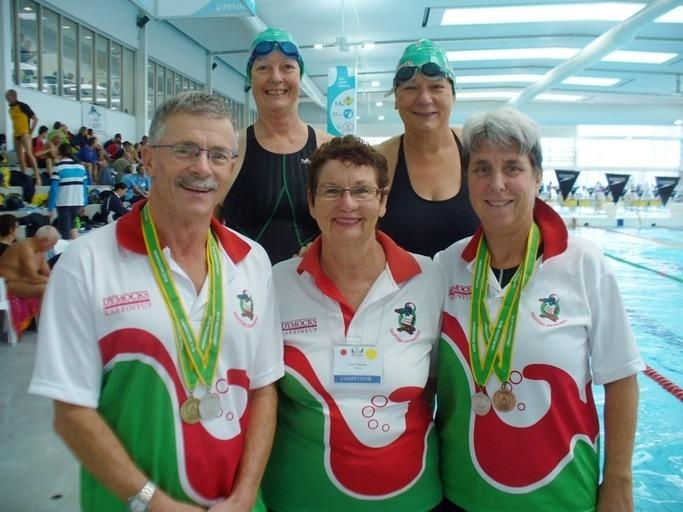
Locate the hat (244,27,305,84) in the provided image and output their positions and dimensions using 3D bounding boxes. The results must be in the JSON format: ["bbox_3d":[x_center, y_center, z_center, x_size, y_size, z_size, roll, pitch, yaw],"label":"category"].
[{"bbox_3d":[-0.436,-1.304,3.648,0.285,0.383,0.204,1,17,-4],"label":"hat"}]

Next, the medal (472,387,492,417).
[{"bbox_3d":[0.675,0.708,2.714,0.084,0.115,0.021,-14,-18,40],"label":"medal"}]

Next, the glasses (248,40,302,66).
[{"bbox_3d":[-0.421,-1.277,3.616,0.358,0.157,0.181,-1,10,-11],"label":"glasses"}]

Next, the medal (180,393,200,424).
[{"bbox_3d":[-0.677,0.674,2.498,0.123,0.146,0.019,-2,-5,-20],"label":"medal"}]

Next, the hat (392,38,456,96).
[{"bbox_3d":[0.543,-1.222,3.567,0.311,0.339,0.158,7,44,15],"label":"hat"}]

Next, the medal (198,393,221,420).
[{"bbox_3d":[-0.597,0.670,2.525,0.110,0.141,0.019,4,-8,-26],"label":"medal"}]

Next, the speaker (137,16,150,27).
[{"bbox_3d":[-4.739,-5.520,13.456,0.304,0.238,0.340,-1,10,-11],"label":"speaker"}]
